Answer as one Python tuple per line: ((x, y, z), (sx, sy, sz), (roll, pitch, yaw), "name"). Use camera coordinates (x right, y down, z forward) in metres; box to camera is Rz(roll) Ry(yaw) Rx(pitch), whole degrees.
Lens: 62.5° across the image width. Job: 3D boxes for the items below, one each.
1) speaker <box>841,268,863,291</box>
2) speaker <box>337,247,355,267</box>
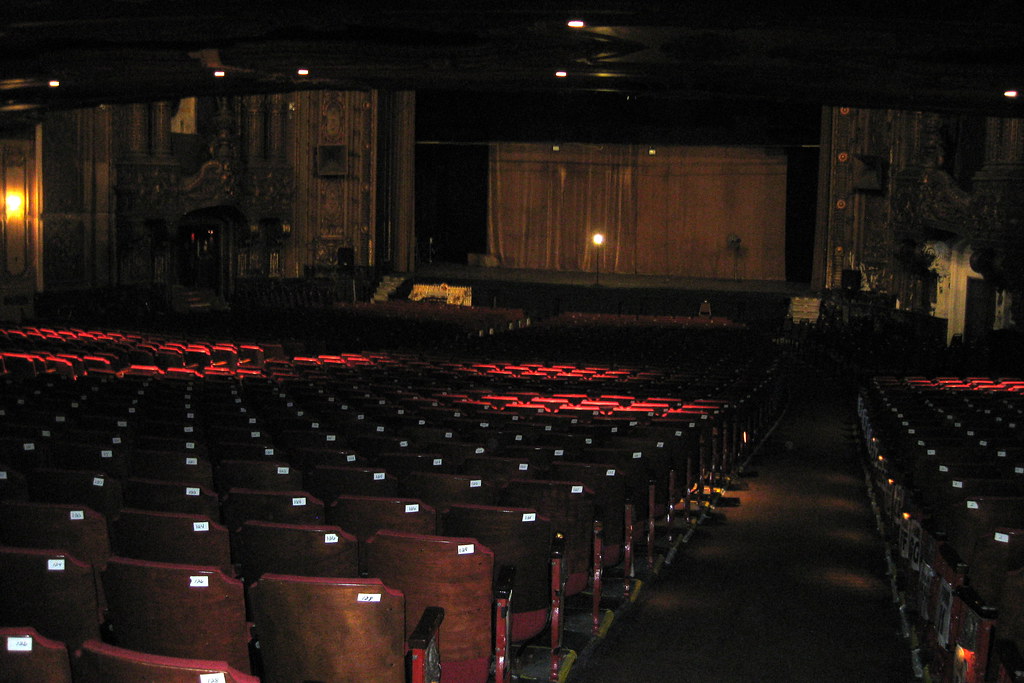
((11.172, -1.995, 27.587), (0.580, 0.699, 0.559), (3, 8, 11), "speaker")
((-6.279, -3.171, 31.900), (0.698, 1.226, 0.676), (1, 2, -16), "speaker")
